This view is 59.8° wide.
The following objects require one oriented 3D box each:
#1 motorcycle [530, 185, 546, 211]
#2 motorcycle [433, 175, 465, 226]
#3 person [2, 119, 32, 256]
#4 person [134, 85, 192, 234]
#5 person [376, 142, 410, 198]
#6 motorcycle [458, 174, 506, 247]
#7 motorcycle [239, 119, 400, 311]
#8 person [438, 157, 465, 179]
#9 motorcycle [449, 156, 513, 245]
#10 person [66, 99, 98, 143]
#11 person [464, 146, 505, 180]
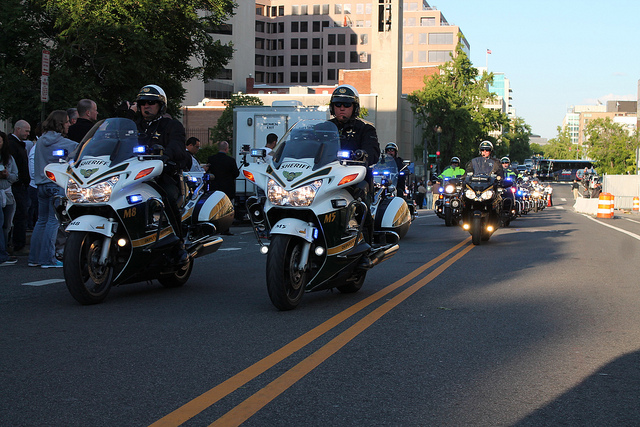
[{"bbox_3d":[13.937,-0.936,35.683,1.284,1.583,2.527,-2,-1,15],"label":"motorcycle"},{"bbox_3d":[5.037,-0.451,22.070,1.200,1.777,3.048,1,1,14],"label":"motorcycle"},{"bbox_3d":[-6.488,-0.561,12.085,0.454,2.921,0.913,-1,3,-28],"label":"person"},{"bbox_3d":[-2.524,-0.716,8.604,0.825,2.513,0.798,5,11,25],"label":"person"},{"bbox_3d":[2.136,-1.386,16.051,0.817,1.075,1.832,-1,-5,17],"label":"person"},{"bbox_3d":[4.411,-0.101,15.208,1.039,1.894,0.811,-1,4,-30],"label":"motorcycle"},{"bbox_3d":[0.041,-0.013,7.413,1.934,2.526,0.967,-2,4,-39],"label":"motorcycle"},{"bbox_3d":[5.378,-1.807,22.643,0.619,0.864,1.481,2,2,16],"label":"person"},{"bbox_3d":[4.396,-0.353,15.481,1.117,2.346,1.428,2,4,31],"label":"motorcycle"},{"bbox_3d":[-4.925,-1.933,11.616,0.535,0.847,1.088,-6,22,-35],"label":"person"},{"bbox_3d":[4.726,-1.435,15.968,1.209,1.134,0.686,4,7,42],"label":"person"}]
